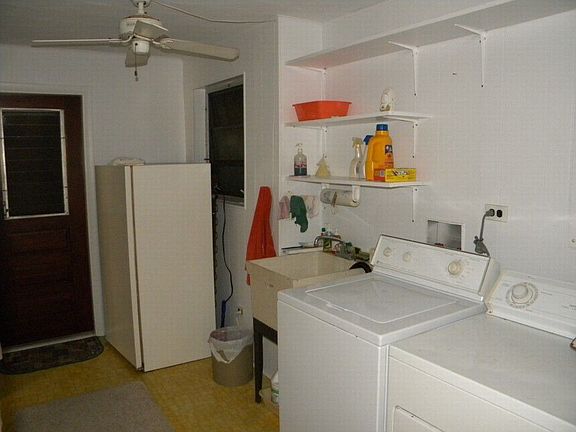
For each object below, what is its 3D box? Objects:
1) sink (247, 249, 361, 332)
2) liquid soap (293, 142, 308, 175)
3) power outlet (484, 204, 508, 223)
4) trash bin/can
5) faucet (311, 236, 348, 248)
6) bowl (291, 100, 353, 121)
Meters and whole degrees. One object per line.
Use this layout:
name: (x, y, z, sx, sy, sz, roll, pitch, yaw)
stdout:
sink: (0.062, 0.426, 3.189, 0.548, 0.347, 0.549, -4, 10, -34)
liquid soap: (0.093, -0.430, 3.441, 0.109, 0.237, 0.193, 0, 13, 1)
power outlet: (1.155, -0.019, 2.533, 0.010, 0.082, 0.093, -7, 10, -36)
trash bin/can: (-0.456, 1.063, 3.694, 0.384, 0.387, 0.385, 8, 10, 40)
faucet: (0.301, 0.201, 3.475, 0.304, 0.116, 0.085, -7, 4, 35)
bowl: (0.237, -0.733, 3.169, 0.391, 0.136, 0.312, 0, 14, 2)
